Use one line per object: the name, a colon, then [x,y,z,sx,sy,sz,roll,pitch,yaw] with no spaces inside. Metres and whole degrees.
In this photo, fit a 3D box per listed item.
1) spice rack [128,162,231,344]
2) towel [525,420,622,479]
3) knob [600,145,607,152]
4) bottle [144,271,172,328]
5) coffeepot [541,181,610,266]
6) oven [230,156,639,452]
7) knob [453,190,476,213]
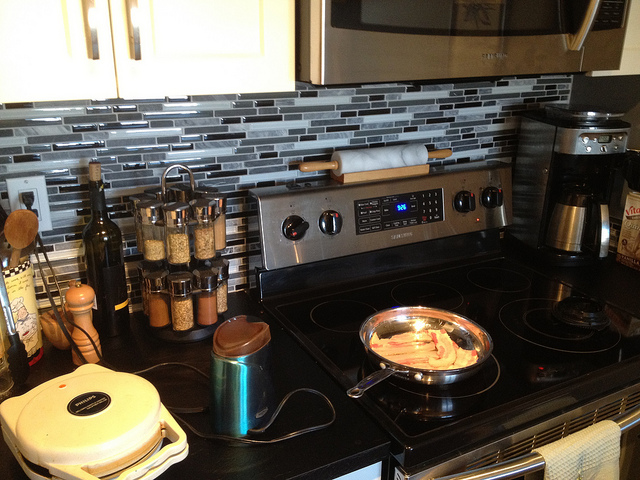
spice rack: [-0.358,0.058,1.305,0.233,0.527,0.224,-7,26,-21]
towel: [0.633,0.551,1.202,0.271,0.190,0.057,-14,21,-24]
knob: [0.932,-0.298,1.599,0.019,0.019,0.018,-5,22,-7]
bottle: [-0.432,0.161,1.292,0.081,0.155,0.037,-4,19,4]
coffeepot: [0.913,-0.045,1.696,0.163,0.278,0.272,1,15,-4]
oven: [0.282,0.170,1.439,0.893,0.342,0.800,-14,41,-23]
knob: [0.489,-0.130,1.661,0.062,0.062,0.031,12,8,-27]
